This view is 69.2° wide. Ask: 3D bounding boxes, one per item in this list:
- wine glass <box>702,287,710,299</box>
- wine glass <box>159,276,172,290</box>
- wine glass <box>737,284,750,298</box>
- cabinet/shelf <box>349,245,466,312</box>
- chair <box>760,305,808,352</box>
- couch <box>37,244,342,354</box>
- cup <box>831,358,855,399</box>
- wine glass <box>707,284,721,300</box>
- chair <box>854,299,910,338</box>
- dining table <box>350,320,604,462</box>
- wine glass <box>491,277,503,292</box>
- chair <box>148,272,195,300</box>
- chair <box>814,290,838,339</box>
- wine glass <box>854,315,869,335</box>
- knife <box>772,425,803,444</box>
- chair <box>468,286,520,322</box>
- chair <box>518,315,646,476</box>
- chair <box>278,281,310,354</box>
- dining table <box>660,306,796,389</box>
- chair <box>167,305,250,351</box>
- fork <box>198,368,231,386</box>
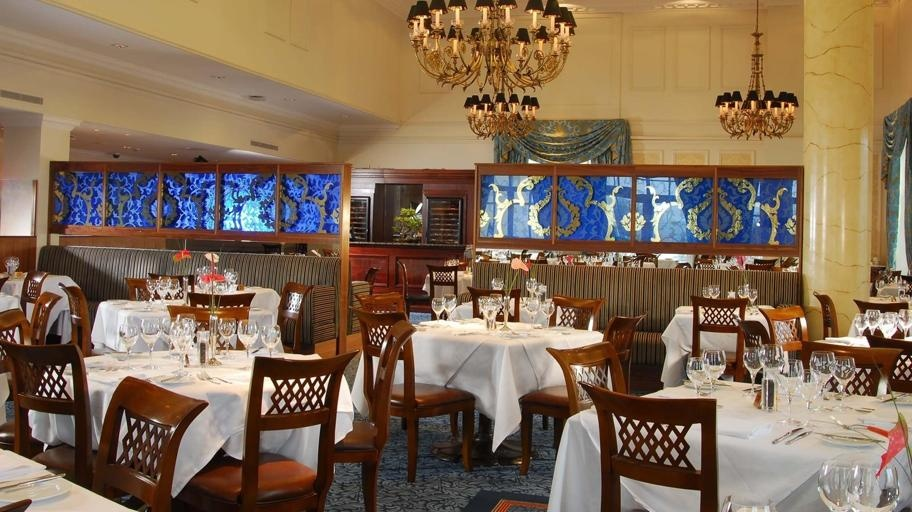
[{"bbox_3d":[3.275,0.485,8.653,0.132,0.136,0.130,1,0,2],"label":"wine glass"},{"bbox_3d":[-3.368,0.321,7.685,0.153,0.154,0.150,1,1,-38],"label":"wine glass"},{"bbox_3d":[3.837,0.464,8.854,0.212,0.231,0.200,0,-2,15],"label":"wine glass"},{"bbox_3d":[-0.803,0.396,12.286,1.462,0.865,0.485,-1,-6,8],"label":"cabinet/shelf"},{"bbox_3d":[3.170,0.655,6.259,0.295,0.342,0.816,-1,0,38],"label":"chair"},{"bbox_3d":[-3.944,0.791,9.904,4.069,1.355,1.250,2,-1,0],"label":"couch"},{"bbox_3d":[2.696,0.886,4.609,0.164,0.366,0.151,2,-2,0],"label":"cup"},{"bbox_3d":[3.333,0.467,8.543,0.170,0.261,0.174,1,-5,-13],"label":"wine glass"},{"bbox_3d":[4.883,0.673,7.562,0.584,0.377,0.536,1,-1,0],"label":"chair"},{"bbox_3d":[0.349,1.047,6.370,1.646,0.713,1.608,0,-3,-22],"label":"dining table"},{"bbox_3d":[0.563,0.392,9.043,0.150,0.142,0.152,2,1,10],"label":"wine glass"},{"bbox_3d":[-3.423,0.365,7.868,0.484,0.297,0.491,2,0,-26],"label":"chair"},{"bbox_3d":[4.745,0.758,8.473,0.284,0.586,0.622,0,0,30],"label":"chair"},{"bbox_3d":[3.703,0.630,6.043,0.102,0.206,0.269,0,0,33],"label":"wine glass"},{"bbox_3d":[2.153,1.161,4.284,0.087,0.025,0.387,7,13,44],"label":"knife"},{"bbox_3d":[0.459,0.546,8.092,0.533,0.677,0.478,1,2,14],"label":"chair"},{"bbox_3d":[1.246,1.307,6.344,1.077,1.465,1.129,1,-2,-42],"label":"chair"},{"bbox_3d":[-2.145,0.833,8.725,0.398,0.729,1.732,-1,0,-15],"label":"chair"},{"bbox_3d":[3.125,1.043,8.103,0.962,0.903,0.852,3,3,40],"label":"dining table"},{"bbox_3d":[-2.271,0.638,5.945,0.371,0.575,0.406,1,0,8],"label":"chair"},{"bbox_3d":[-1.792,0.906,4.893,0.100,0.069,0.479,-12,6,-38],"label":"fork"}]
